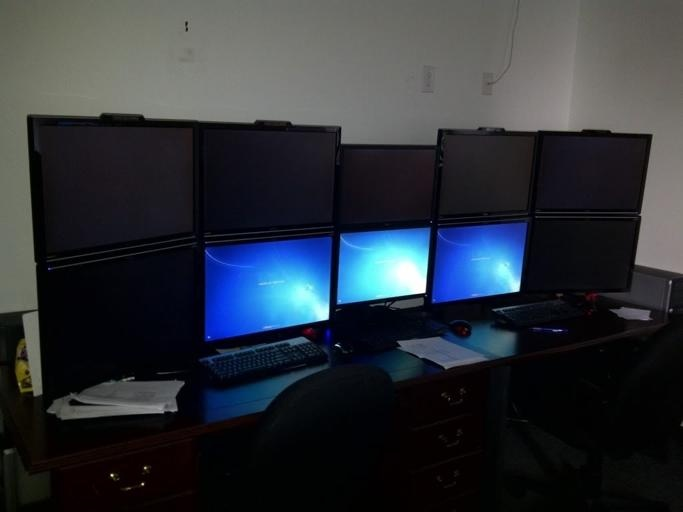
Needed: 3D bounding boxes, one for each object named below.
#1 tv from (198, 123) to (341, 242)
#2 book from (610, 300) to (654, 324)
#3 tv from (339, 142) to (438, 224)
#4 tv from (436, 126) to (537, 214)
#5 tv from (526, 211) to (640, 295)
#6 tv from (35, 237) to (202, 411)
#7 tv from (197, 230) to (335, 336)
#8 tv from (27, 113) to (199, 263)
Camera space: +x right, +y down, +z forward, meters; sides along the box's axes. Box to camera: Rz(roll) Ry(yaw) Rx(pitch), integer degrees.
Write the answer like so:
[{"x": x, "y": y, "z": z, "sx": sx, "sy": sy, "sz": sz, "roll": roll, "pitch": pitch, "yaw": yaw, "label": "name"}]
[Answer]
[{"x": -0.338, "y": -0.326, "z": 2.329, "sx": 0.482, "sy": 0.380, "sz": 0.051, "roll": -7, "pitch": 19, "yaw": -25, "label": "tv"}, {"x": 1.587, "y": 0.309, "z": 2.923, "sx": 0.129, "sy": 0.042, "sz": 0.101, "roll": 11, "pitch": 25, "yaw": 30, "label": "book"}, {"x": 0.213, "y": -0.355, "z": 2.609, "sx": 0.367, "sy": 0.280, "sz": 0.038, "roll": -6, "pitch": 18, "yaw": -22, "label": "tv"}, {"x": 0.746, "y": -0.447, "z": 2.801, "sx": 0.414, "sy": 0.330, "sz": 0.042, "roll": -6, "pitch": 17, "yaw": -22, "label": "tv"}, {"x": 1.325, "y": -0.033, "z": 2.995, "sx": 0.433, "sy": 0.323, "sz": 0.032, "roll": -1, "pitch": 15, "yaw": -9, "label": "tv"}, {"x": -0.864, "y": 0.261, "z": 2.019, "sx": 0.549, "sy": 0.489, "sz": 0.058, "roll": -8, "pitch": 15, "yaw": -38, "label": "tv"}, {"x": -0.357, "y": 0.110, "z": 2.360, "sx": 0.439, "sy": 0.332, "sz": 0.035, "roll": -5, "pitch": 10, "yaw": -33, "label": "tv"}, {"x": -0.833, "y": -0.274, "z": 2.041, "sx": 0.622, "sy": 0.528, "sz": 0.061, "roll": -12, "pitch": 26, "yaw": -42, "label": "tv"}]
